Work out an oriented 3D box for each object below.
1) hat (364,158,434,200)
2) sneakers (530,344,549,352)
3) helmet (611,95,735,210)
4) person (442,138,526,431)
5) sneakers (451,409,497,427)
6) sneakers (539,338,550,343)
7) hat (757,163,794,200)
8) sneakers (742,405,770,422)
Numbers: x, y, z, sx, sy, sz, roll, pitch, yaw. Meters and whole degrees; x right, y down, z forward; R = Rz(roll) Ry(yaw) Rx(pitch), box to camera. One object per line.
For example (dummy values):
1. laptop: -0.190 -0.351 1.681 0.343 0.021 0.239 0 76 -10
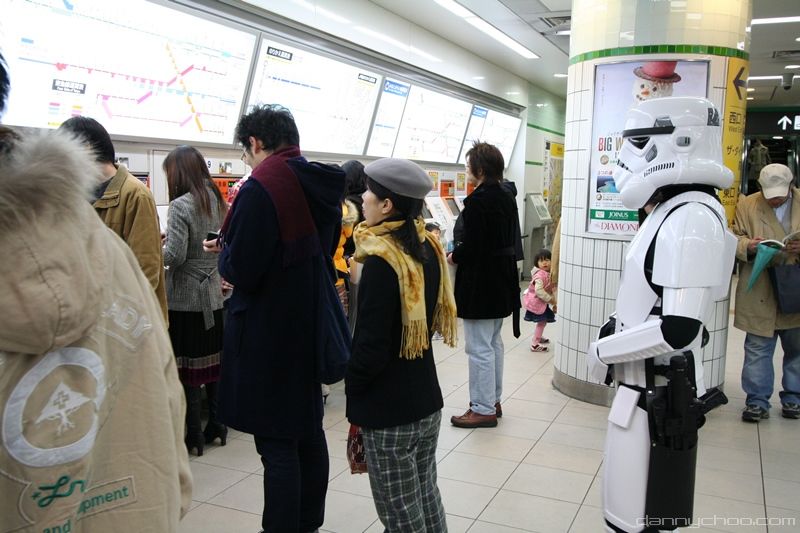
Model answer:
1. hat: 0.003 -0.401 2.334 0.227 0.084 0.187 18 29 -14
2. sneakers: 1.612 0.957 6.130 0.220 0.097 0.075 0 4 5
3. helmet: 1.262 -0.545 2.637 0.556 0.533 0.449 6 5 21
4. person: 0.667 0.156 4.099 0.538 2.177 0.416 1 9 1
5. sneakers: 0.570 1.201 4.158 0.345 0.150 0.137 4 -4 -3
6. sneakers: 1.730 0.906 6.370 0.058 0.074 0.174 -2 -9 11
7. hat: 2.907 -0.657 4.108 0.200 0.275 0.271 7 11 37
8. sneakers: 2.859 1.199 4.269 0.249 0.116 0.101 3 -4 -12
